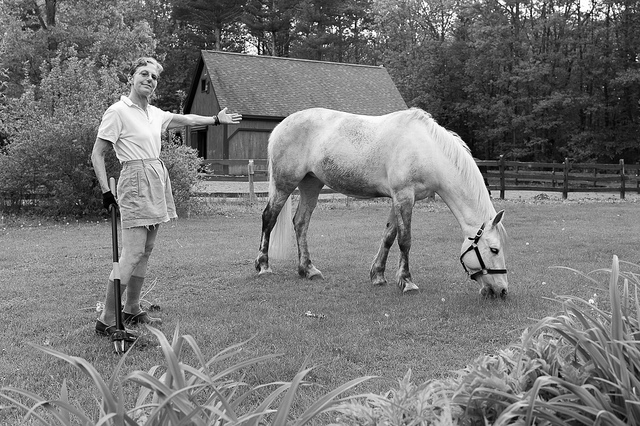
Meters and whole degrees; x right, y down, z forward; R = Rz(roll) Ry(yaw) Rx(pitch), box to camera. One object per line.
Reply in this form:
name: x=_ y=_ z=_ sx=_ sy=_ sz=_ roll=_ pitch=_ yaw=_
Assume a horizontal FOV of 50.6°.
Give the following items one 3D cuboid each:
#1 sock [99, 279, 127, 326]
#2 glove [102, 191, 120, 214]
sock: x=-2.963 y=1.258 z=9.530 sx=0.385 sy=0.686 sz=0.143 roll=6 pitch=10 yaw=35
glove: x=-2.939 y=-0.159 z=9.473 sx=0.163 sy=0.291 sz=0.220 roll=-36 pitch=21 yaw=-36
